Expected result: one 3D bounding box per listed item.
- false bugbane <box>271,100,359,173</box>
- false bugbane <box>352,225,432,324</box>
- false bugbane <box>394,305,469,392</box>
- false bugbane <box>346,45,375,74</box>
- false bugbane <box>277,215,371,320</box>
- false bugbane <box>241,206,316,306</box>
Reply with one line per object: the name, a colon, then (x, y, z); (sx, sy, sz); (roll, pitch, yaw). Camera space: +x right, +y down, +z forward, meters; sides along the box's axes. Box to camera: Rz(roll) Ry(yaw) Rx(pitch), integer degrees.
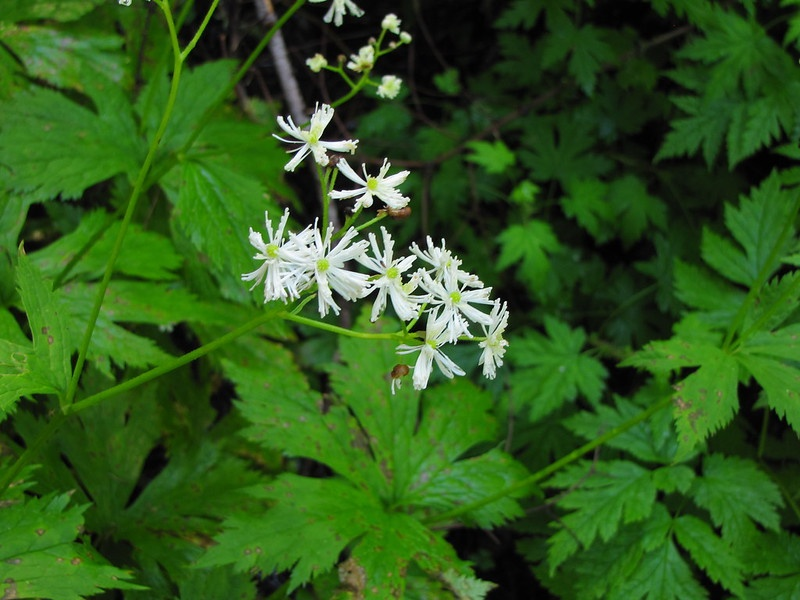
false bugbane: (-0.272, -0.505, 2.305); (0.187, 0.097, 0.215); (13, 0, 6)
false bugbane: (-0.009, -0.084, 2.273); (0.211, 0.272, 0.094); (14, 7, 5)
false bugbane: (0.094, 0.138, 2.215); (0.204, 0.107, 0.208); (-11, 9, -43)
false bugbane: (-0.146, -0.895, 2.723); (0.087, 0.120, 0.220); (1, 33, -7)
false bugbane: (-0.231, -0.120, 2.177); (0.208, 0.090, 0.207); (-17, -12, 35)
false bugbane: (-0.360, -0.138, 2.136); (0.198, 0.243, 0.101); (-28, 53, 13)
